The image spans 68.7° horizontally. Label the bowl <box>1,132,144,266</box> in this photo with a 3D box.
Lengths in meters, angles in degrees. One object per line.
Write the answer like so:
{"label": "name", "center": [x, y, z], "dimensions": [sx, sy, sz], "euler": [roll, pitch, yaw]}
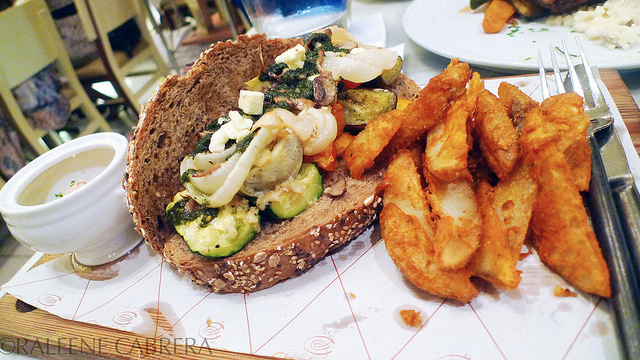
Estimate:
{"label": "bowl", "center": [-1.751, 0.165, 3.466], "dimensions": [0.763, 1.084, 0.747], "euler": [2, 3, 0]}

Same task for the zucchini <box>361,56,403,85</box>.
{"label": "zucchini", "center": [0.508, -0.848, 3.603], "dimensions": [0.299, 0.193, 0.374], "euler": [-10, 17, -19]}
